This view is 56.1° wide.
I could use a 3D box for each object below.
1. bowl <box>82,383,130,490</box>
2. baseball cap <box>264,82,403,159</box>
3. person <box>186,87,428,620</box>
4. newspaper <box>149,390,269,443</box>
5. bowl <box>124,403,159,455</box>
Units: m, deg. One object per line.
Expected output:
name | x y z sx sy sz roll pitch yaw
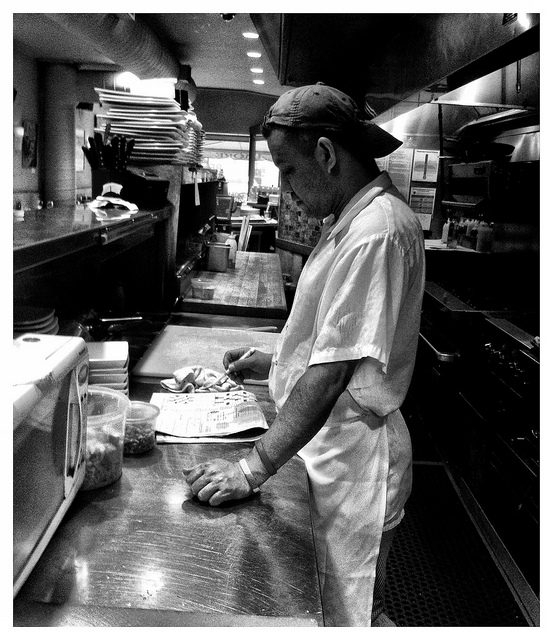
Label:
bowl | -0.342 0.243 1.091 0.117 0.134 0.149 2 10 -3
baseball cap | 0.143 -0.468 1.244 0.312 0.157 0.236 9 5 -3
person | 0.089 0.113 1.165 0.421 1.257 0.549 8 9 20
newspaper | -0.199 0.262 1.482 0.307 0.056 0.359 5 11 -17
bowl | -0.324 0.267 1.245 0.084 0.083 0.089 2 9 0
